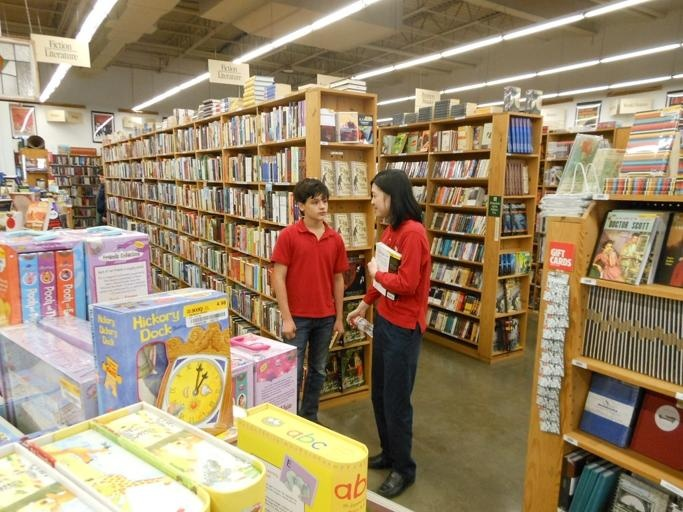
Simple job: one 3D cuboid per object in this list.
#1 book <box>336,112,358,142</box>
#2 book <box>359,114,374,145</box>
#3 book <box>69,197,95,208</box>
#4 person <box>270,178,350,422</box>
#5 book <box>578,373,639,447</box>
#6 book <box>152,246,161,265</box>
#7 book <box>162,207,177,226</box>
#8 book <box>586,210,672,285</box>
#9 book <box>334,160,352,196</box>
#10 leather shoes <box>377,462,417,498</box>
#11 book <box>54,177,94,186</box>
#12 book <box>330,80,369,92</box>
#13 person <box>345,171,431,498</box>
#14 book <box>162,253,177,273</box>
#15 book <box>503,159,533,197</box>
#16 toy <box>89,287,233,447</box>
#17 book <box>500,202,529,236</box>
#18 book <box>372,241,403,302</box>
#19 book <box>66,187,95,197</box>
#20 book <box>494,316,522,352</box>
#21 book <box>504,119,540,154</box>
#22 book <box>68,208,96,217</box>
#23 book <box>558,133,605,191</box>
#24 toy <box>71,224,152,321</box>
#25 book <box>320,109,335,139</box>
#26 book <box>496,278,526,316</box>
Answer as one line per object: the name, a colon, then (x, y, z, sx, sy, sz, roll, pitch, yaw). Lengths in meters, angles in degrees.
book: (0.042, -1.140, 4.078, 0.249, 0.239, 0.138, -6, 9, -33)
book: (0.220, -1.149, 4.182, 0.165, 0.253, 0.033, -5, 13, -30)
book: (-7.720, -1.666, 13.935, 0.246, 0.310, 0.797, 13, 13, 39)
person: (-0.241, 0.345, 3.703, 0.322, 1.918, 0.543, 11, 15, 42)
book: (1.467, 0.846, 2.599, 0.076, 0.313, 0.314, 6, 6, -30)
book: (-3.307, -0.049, 8.444, 0.180, 0.307, 0.318, -2, 4, -32)
book: (-2.794, -0.664, 7.709, 0.123, 0.345, 0.366, -13, -2, -35)
book: (1.541, -0.050, 2.495, 0.242, 0.435, 0.319, 18, -5, -39)
book: (0.016, -0.702, 4.162, 0.064, 0.260, 0.263, 4, 11, 35)
leather shoes: (0.368, 1.583, 3.291, 0.127, 0.155, 0.357, 8, 9, 42)
book: (-7.892, -2.284, 14.000, 0.244, 0.312, 1.027, 9, 14, 36)
book: (0.055, -1.506, 4.118, 0.317, 0.110, 0.247, 0, 12, -4)
person: (0.360, 0.539, 3.240, 0.452, 2.258, 0.530, -2, 11, -15)
book: (-2.823, 0.077, 7.759, 0.154, 0.260, 0.273, -15, 16, -35)
book: (1.975, -0.892, 5.403, 0.424, 0.427, 0.106, -1, 5, -29)
toy: (-0.610, 0.389, 1.600, 0.505, 0.602, 0.231, -6, 6, -44)
book: (1.997, -0.453, 5.468, 0.399, 0.385, 0.223, -3, 3, -37)
book: (0.283, 0.083, 3.069, 0.071, 0.305, 0.305, -8, 29, -25)
book: (-7.820, -1.991, 14.035, 0.118, 0.219, 0.617, 10, 11, 39)
book: (1.966, 0.902, 5.599, 0.472, 0.452, 0.267, 0, 2, -40)
book: (2.006, -1.341, 5.403, 0.385, 0.507, 0.536, 1, 6, 9)
book: (-7.414, -1.314, 13.428, 0.713, 0.276, 0.217, 2, 16, -3)
book: (1.373, -0.545, 2.731, 0.216, 0.329, 0.132, -7, 13, -34)
toy: (-1.113, 0.048, 2.394, 0.367, 0.617, 0.644, -1, 3, -38)
book: (-0.116, -1.130, 4.009, 0.182, 0.268, 0.059, -10, 16, -44)
book: (1.998, 0.465, 5.580, 0.467, 0.444, 0.266, -2, 3, -37)
